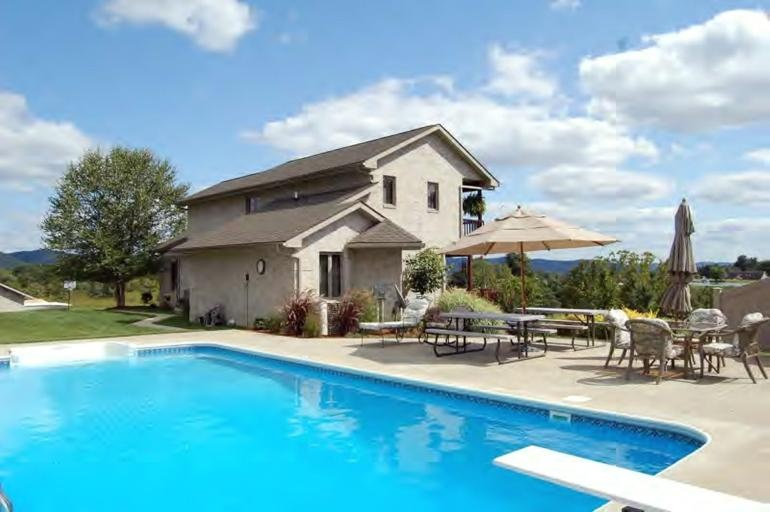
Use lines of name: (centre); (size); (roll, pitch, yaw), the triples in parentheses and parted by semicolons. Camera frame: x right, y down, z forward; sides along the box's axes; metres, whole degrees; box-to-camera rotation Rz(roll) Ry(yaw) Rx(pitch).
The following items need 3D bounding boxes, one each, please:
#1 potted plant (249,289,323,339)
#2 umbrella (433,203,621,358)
potted plant: (-3.962, 2.740, 22.749); (2.006, 1.612, 2.676); (-2, -7, 6)
umbrella: (4.766, 0.555, 18.635); (4.575, 3.075, 4.457); (-2, 2, -8)
